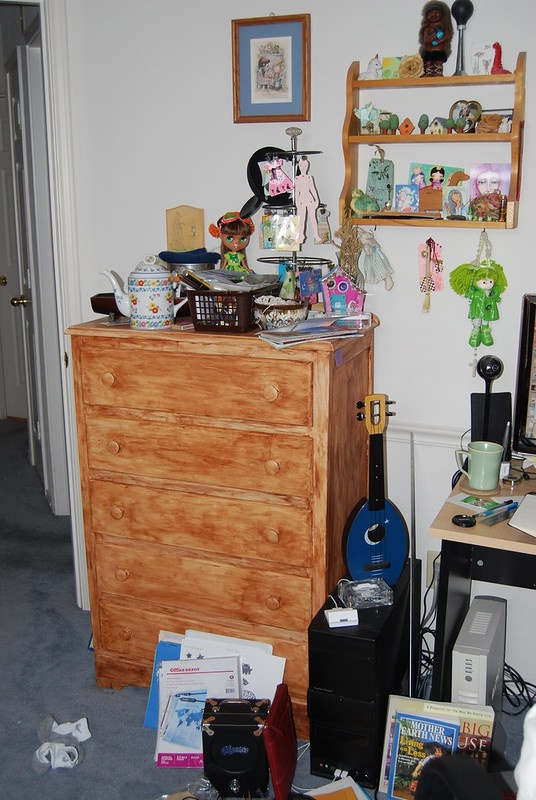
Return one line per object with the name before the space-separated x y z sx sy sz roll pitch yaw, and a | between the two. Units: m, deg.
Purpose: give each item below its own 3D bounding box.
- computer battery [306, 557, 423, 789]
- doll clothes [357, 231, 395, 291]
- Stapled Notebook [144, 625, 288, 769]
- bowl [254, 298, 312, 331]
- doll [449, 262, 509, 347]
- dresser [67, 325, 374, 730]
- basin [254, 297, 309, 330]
computer battery | 0.256 0.773 1.808 0.205 0.502 0.407 4 13 22
doll clothes | 0.337 -0.430 1.990 0.066 0.190 0.113 -7 20 -24
Stapled Notebook | -0.176 0.821 1.808 0.345 0.370 0.086 3 0 19
bowl | 0.043 -0.225 1.740 0.103 0.065 0.098 -1 6 0
doll | 0.641 -0.298 1.918 0.219 0.344 0.111 -2 14 7
dresser | -0.059 0.276 2.232 1.025 1.165 0.640 5 19 18
basin | 0.024 -0.231 1.745 0.103 0.069 0.101 -2 8 0
